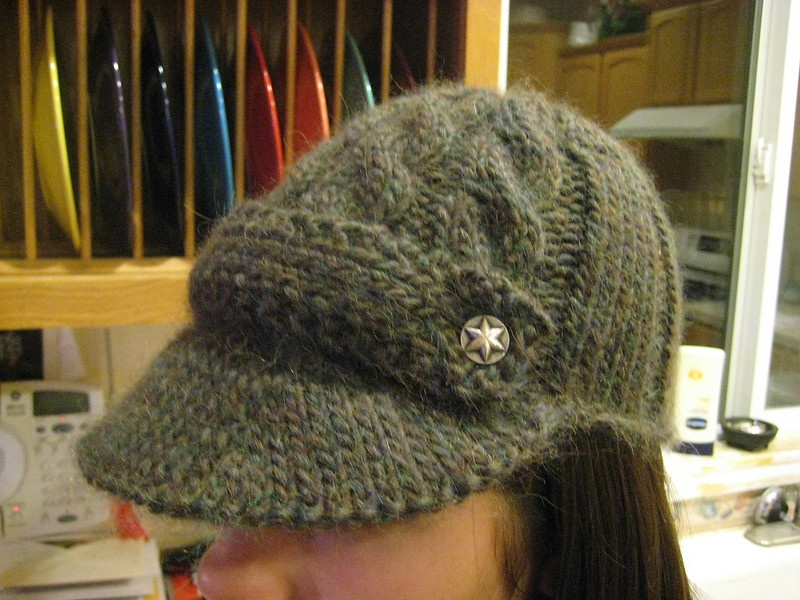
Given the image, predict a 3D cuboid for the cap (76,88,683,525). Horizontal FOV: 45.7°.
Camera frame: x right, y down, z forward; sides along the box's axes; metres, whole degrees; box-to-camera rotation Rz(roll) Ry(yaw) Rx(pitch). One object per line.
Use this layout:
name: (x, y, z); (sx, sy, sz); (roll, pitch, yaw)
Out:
cap: (0.025, 0.042, 1.386); (0.663, 0.469, 0.566); (-4, 12, -24)
